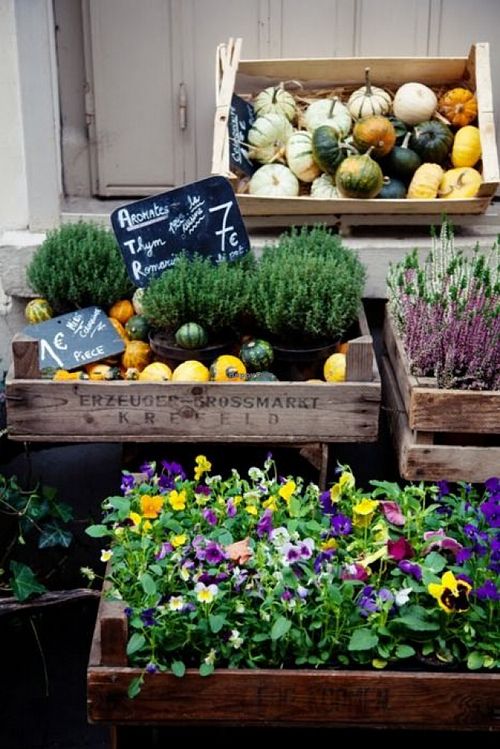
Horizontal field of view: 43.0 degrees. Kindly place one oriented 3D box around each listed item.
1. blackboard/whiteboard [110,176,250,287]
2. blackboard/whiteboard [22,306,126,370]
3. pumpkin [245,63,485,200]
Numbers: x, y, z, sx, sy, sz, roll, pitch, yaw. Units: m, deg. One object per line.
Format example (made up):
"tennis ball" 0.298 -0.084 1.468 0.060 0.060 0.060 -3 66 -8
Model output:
"blackboard/whiteboard" -0.282 -0.612 2.585 0.572 0.443 0.344 -2 25 5
"blackboard/whiteboard" -0.700 -0.144 2.580 0.357 0.085 0.258 -20 63 -23
"pumpkin" 0.611 -1.344 3.345 1.357 0.310 0.821 1 61 0
